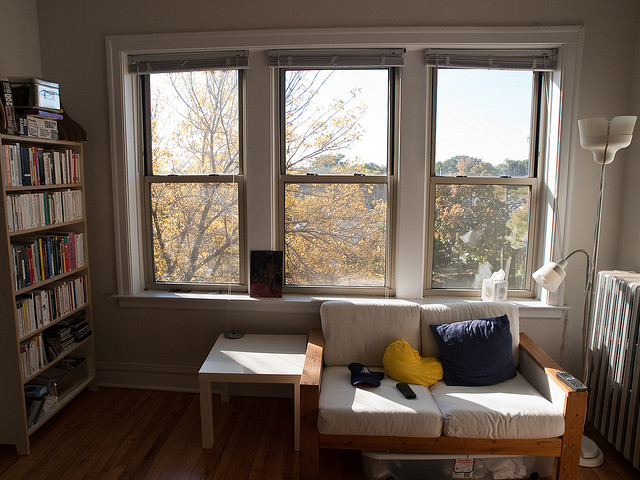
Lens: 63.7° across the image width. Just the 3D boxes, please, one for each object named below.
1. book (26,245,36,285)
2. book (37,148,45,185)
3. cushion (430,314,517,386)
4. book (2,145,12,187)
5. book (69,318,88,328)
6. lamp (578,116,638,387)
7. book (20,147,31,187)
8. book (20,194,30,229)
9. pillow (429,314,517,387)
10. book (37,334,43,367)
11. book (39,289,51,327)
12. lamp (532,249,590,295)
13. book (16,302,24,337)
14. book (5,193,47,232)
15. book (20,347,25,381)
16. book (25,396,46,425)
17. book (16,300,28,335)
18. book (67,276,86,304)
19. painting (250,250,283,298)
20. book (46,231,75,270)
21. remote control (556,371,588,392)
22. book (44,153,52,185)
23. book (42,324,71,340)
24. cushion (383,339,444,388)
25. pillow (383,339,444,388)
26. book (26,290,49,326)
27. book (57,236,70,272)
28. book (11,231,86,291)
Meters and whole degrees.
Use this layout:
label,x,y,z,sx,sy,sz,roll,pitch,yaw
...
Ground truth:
label,x,y,z,sx,sy,sz,roll,pitch,yaw
book,-2.117,0.184,3.762,0.043,0.194,0.189,-6,-11,-18
book,-2.069,-0.543,3.820,0.043,0.198,0.189,-1,2,-23
cushion,1.142,0.838,3.803,0.414,0.383,0.178,-5,-14,2
book,-2.162,-0.513,3.564,0.030,0.287,0.072,-5,12,-21
book,-1.982,0.679,4.199,0.030,0.026,0.130,-34,-3,7
lamp,2.092,0.090,3.886,0.408,1.996,0.333,-6,13,-26
book,-2.118,-0.526,3.689,0.081,0.240,0.240,-2,12,-31
book,-2.120,-0.210,3.688,0.036,0.259,0.191,0,-13,-19
pillow,1.138,0.839,3.804,0.416,0.384,0.164,-5,-12,-3
book,-2.113,0.829,3.899,0.032,0.231,0.048,-7,14,-31
book,-2.073,0.514,3.880,0.030,0.258,0.081,2,12,10
lamp,1.836,0.215,3.801,0.387,0.332,0.135,2,15,-1
book,-2.150,0.569,3.683,0.031,0.237,0.065,-8,14,-32
book,-2.123,-0.202,3.687,0.138,0.251,0.260,-1,5,12
book,-2.151,0.895,3.720,0.011,0.237,0.053,-5,13,-23
book,-2.104,1.291,3.888,0.048,0.169,0.184,9,-40,-7
book,-2.131,0.561,3.718,0.039,0.175,0.166,2,0,-6
book,-1.990,0.406,4.184,0.074,0.201,0.218,-7,2,-2
painting,-0.452,0.276,4.363,0.373,0.542,0.022,0,3,2
book,-2.029,0.087,4.185,0.334,0.341,0.251,0,0,37
remote control,1.704,0.960,3.495,0.101,0.045,0.182,5,17,-13
book,-2.053,-0.531,3.878,0.038,0.171,0.163,-1,4,-17
book,-2.065,0.722,4.045,0.081,0.098,0.208,5,13,25
cushion,0.736,0.951,3.989,0.475,0.307,0.501,2,-8,25
pillow,0.712,0.965,4.030,0.511,0.313,0.541,6,-19,-39
book,-2.102,0.502,3.806,0.145,0.256,0.268,-1,0,-3
book,-2.024,0.110,4.085,0.056,0.273,0.105,-8,14,-34
book,-2.171,0.131,3.960,0.268,0.329,0.752,3,8,11
